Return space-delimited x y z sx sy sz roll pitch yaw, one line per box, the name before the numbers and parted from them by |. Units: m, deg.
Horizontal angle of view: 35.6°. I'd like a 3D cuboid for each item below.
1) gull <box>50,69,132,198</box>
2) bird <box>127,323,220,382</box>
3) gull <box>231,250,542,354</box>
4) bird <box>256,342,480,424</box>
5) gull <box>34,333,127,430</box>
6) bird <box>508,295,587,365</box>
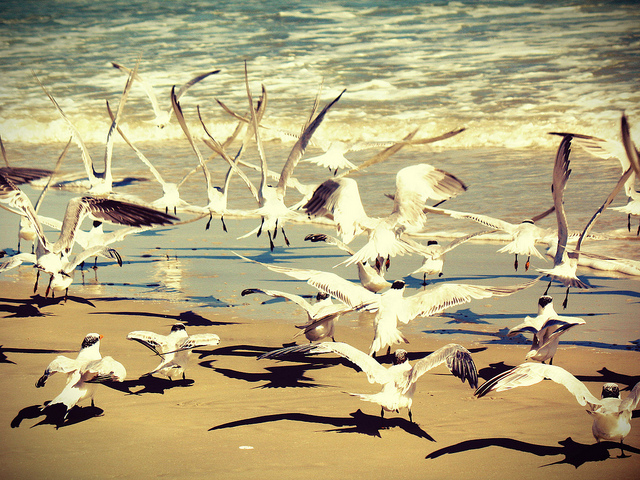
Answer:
gull | -3.170 -1.345 14.347 1.857 1.179 1.021 4 20 -26
bird | -1.782 1.285 11.679 1.294 0.437 0.918 1 18 25
gull | 0.856 0.830 11.737 2.427 0.980 0.669 4 20 20
bird | 0.771 1.568 11.175 1.870 0.846 0.443 -2 20 -4
gull | -2.711 1.609 11.595 1.435 0.918 1.220 1 2 16
bird | 2.720 1.029 11.922 0.999 0.627 0.598 -20 24 24
